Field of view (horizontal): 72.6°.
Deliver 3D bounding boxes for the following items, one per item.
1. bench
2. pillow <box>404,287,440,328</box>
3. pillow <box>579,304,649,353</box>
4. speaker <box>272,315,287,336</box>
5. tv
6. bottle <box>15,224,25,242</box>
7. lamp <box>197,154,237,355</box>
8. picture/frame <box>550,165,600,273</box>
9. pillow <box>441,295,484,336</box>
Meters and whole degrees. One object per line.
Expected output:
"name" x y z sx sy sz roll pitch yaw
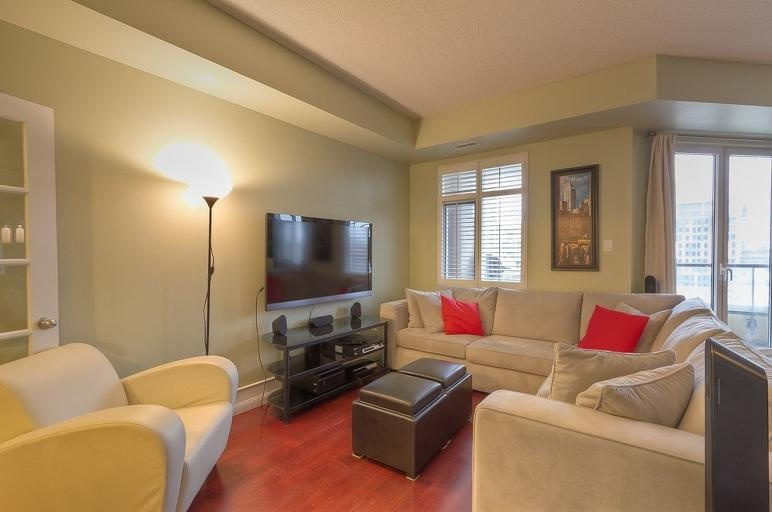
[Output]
"bench" 0.261 1.305 4.583 0.643 0.603 1.172 6 10 29
"pillow" 0.451 0.604 5.908 0.232 0.379 0.458 -19 8 -17
"pillow" 2.083 0.678 4.752 0.160 0.469 0.504 32 -7 -24
"speaker" -1.008 0.662 4.996 0.123 0.230 0.181 -2 1 15
"tv" -0.731 0.056 5.409 0.038 0.681 1.168 -3 -5 39
"bottle" -2.693 -0.166 3.855 0.066 0.133 0.015 -5 4 -45
"lamp" -1.507 -0.015 4.704 0.362 1.783 0.296 -4 4 -33
"picture/frame" 2.092 -0.418 5.788 0.481 1.126 0.059 0 4 32
"pillow" 0.819 0.629 5.656 0.417 0.387 0.124 2 -25 5
